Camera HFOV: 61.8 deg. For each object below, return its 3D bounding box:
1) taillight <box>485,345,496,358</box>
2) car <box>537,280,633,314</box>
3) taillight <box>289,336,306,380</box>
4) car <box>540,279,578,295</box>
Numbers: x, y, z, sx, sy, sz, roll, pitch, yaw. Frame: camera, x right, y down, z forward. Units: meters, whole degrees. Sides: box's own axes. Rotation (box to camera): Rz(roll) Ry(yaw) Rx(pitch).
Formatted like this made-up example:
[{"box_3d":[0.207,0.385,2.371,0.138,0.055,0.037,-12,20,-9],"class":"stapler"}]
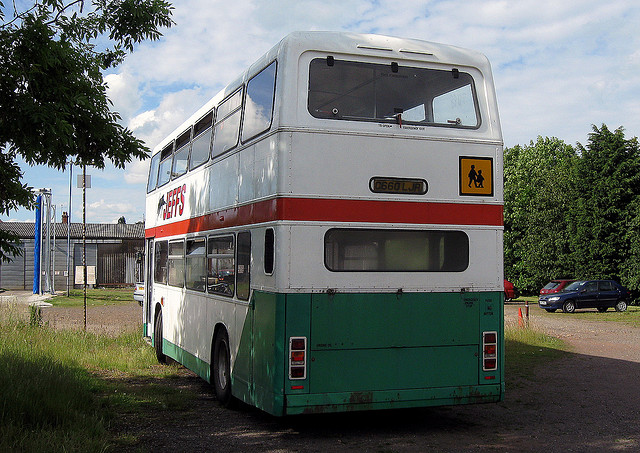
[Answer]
[{"box_3d":[2.701,1.998,8.528,0.167,0.185,0.096,2,-3,-15],"class":"taillight"},{"box_3d":[15.895,4.161,31.922,5.132,1.900,1.201,2,-3,-18],"class":"car"},{"box_3d":[-0.325,1.932,7.783,0.274,0.616,0.051,1,-3,-10],"class":"taillight"},{"box_3d":[14.321,3.697,32.697,1.629,0.891,0.980,-15,5,-31],"class":"car"}]
